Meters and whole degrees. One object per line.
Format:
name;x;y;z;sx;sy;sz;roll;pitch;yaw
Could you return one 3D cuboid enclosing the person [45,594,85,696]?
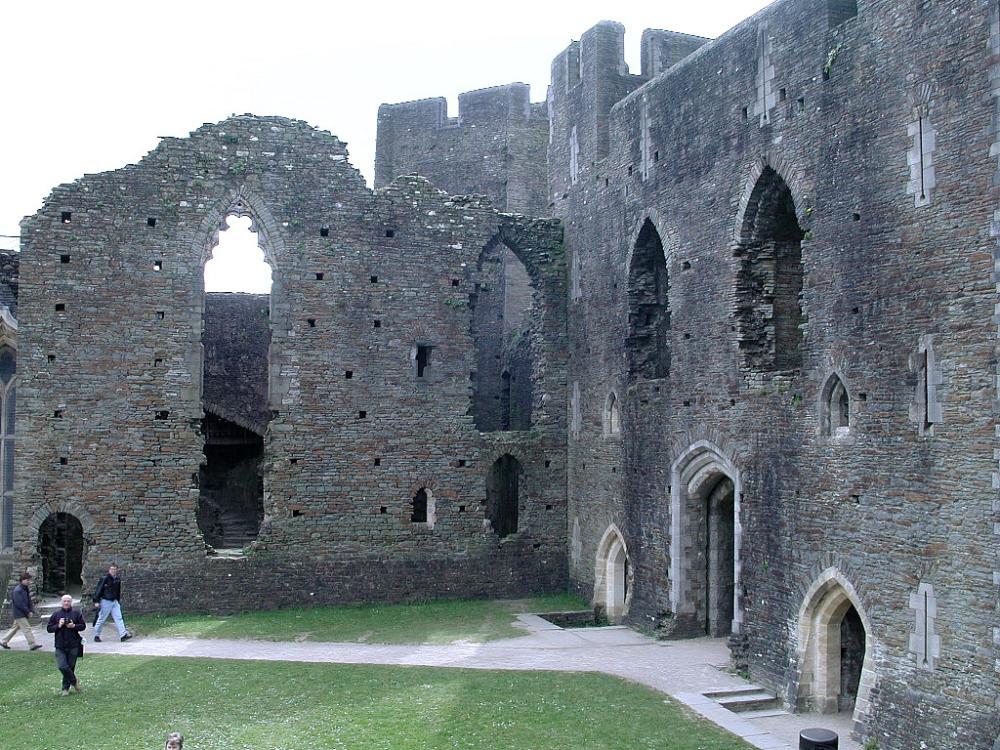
person;-7.862;4.879;21.960;0.582;1.828;1.320;-3;9;-20
